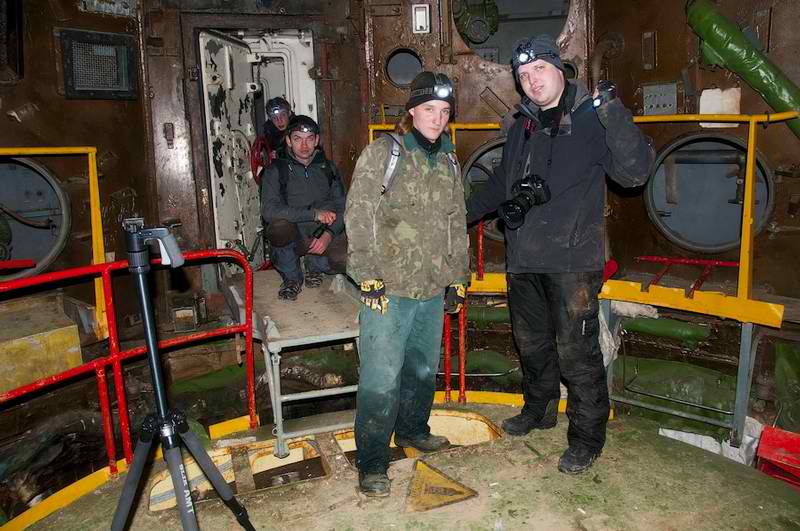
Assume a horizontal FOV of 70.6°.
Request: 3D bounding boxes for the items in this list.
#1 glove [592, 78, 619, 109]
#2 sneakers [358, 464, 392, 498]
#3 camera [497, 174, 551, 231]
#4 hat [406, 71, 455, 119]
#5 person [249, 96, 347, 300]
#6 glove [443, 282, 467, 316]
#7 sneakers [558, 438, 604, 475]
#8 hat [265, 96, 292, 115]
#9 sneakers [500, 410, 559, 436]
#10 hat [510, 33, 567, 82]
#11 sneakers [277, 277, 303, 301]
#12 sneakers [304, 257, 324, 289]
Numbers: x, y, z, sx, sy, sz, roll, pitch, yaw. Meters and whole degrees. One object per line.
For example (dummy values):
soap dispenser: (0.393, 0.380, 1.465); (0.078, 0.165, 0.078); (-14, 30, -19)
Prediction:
glove: (1.646, -1.367, 4.469); (0.217, 0.200, 0.165); (0, 18, -2)
sneakers: (-0.207, 1.728, 4.563); (0.265, 0.190, 0.193); (-4, 13, -4)
camera: (0.997, -0.548, 4.658); (0.397, 0.429, 0.252); (49, 7, 38)
hat: (0.226, -1.390, 4.490); (0.390, 0.304, 0.436); (-1, 13, -9)
person: (-1.064, -0.699, 6.318); (0.955, 1.892, 0.754); (-6, 14, -14)
glove: (0.469, 0.273, 4.822); (0.183, 0.245, 0.086); (3, 2, 0)
sneakers: (1.461, 1.582, 4.637); (0.456, 0.205, 0.168); (-20, 38, -26)
hat: (-1.616, -2.080, 7.451); (0.252, 0.273, 0.332); (5, 30, 12)
sneakers: (1.158, 1.377, 5.093); (0.489, 0.220, 0.192); (1, 9, -7)
hat: (1.142, -1.728, 4.618); (0.321, 0.261, 0.344); (-2, 2, 32)
sneakers: (-1.210, 0.256, 6.144); (0.241, 0.158, 0.310); (-4, 13, -5)
sneakers: (-0.986, 0.055, 6.485); (0.156, 0.179, 0.424); (-4, 48, -21)
